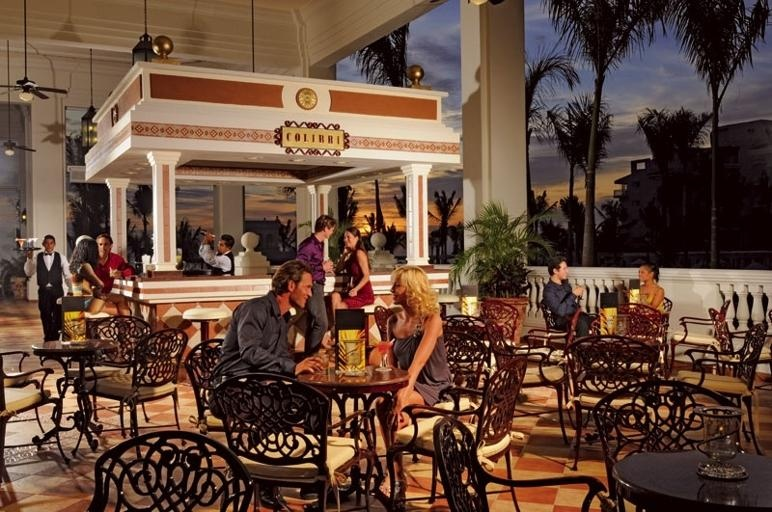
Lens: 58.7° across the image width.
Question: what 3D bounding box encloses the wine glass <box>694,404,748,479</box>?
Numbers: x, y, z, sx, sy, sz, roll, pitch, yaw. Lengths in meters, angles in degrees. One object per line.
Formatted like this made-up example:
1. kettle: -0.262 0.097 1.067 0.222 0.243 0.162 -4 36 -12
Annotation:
1. wine glass: 2.311 1.282 4.734 0.315 0.448 0.317 0 0 18

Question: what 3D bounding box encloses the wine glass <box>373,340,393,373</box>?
1. wine glass: 0.010 0.978 6.592 0.225 0.261 0.215 0 -4 2

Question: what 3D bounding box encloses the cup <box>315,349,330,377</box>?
1. cup: -0.589 1.015 6.474 0.185 0.298 0.183 0 -6 0

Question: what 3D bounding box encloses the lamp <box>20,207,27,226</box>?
1. lamp: -12.080 -1.319 22.812 0.190 0.635 1.439 0 0 -30

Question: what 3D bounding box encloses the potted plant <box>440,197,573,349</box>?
1. potted plant: 1.866 0.225 13.947 2.261 3.139 2.392 -3 -7 37

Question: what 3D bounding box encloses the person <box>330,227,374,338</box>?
1. person: -0.590 0.507 11.482 0.925 1.902 0.638 -1 6 -17

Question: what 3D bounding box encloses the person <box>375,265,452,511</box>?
1. person: 0.319 0.876 6.586 0.611 1.546 0.648 0 0 7

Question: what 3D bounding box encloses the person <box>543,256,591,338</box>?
1. person: 2.636 0.706 9.902 0.711 1.336 0.672 7 18 32

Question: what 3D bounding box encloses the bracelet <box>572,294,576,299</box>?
1. bracelet: 2.692 0.579 9.837 0.068 0.064 0.068 -4 8 -29
